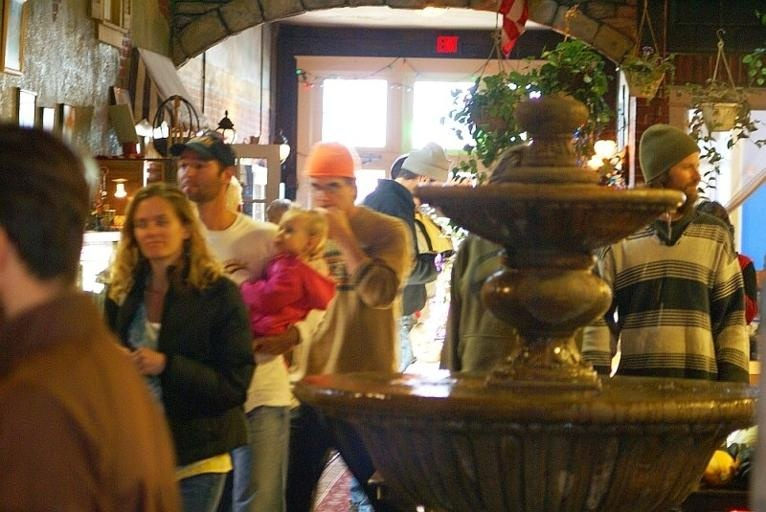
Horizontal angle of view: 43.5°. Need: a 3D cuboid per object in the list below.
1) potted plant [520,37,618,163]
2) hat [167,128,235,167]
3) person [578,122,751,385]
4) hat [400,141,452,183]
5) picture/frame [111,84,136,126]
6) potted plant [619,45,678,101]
[{"bbox_3d":[1.256,-1.052,5.958,0.538,0.587,0.469,-3,1,-13],"label":"potted plant"},{"bbox_3d":[-0.794,-0.467,4.263,0.239,0.124,0.165,23,-3,-28],"label":"hat"},{"bbox_3d":[1.190,-0.023,3.927,0.586,1.031,0.279,2,5,18],"label":"person"},{"bbox_3d":[0.330,-0.690,6.947,0.357,0.224,0.257,19,10,-6],"label":"hat"},{"bbox_3d":[-2.272,-1.310,8.326,0.090,0.312,0.366,-3,1,15],"label":"picture/frame"},{"bbox_3d":[2.388,-1.682,8.598,0.402,0.593,1.604,2,4,17],"label":"potted plant"}]
